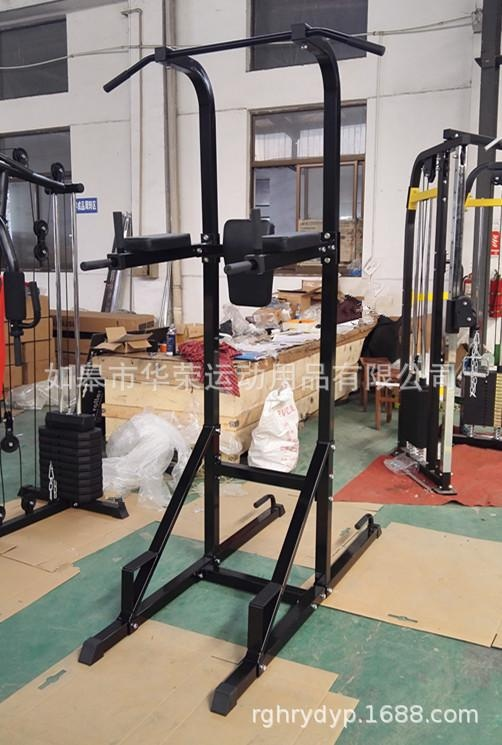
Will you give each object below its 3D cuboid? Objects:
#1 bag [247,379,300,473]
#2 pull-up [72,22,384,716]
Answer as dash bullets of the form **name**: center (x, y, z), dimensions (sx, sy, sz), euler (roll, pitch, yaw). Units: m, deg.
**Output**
- **bag**: center (0.146, 0.327, 3.539), dimensions (0.267, 0.503, 0.353), euler (3, 16, 18)
- **pull-up**: center (0.008, -0.149, 2.036), dimensions (0.762, 1.965, 1.224), euler (3, 8, 18)
